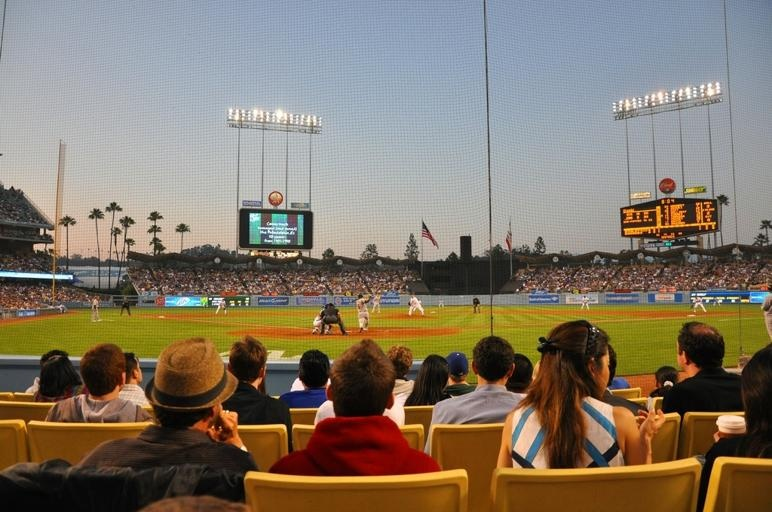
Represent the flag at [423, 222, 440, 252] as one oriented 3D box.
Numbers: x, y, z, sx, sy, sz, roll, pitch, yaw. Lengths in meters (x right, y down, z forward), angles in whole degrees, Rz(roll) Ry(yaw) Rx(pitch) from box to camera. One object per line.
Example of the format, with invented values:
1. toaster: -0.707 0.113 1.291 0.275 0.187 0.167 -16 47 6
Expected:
1. flag: 1.451 -0.715 28.238 0.512 0.823 1.352 -2 0 1
